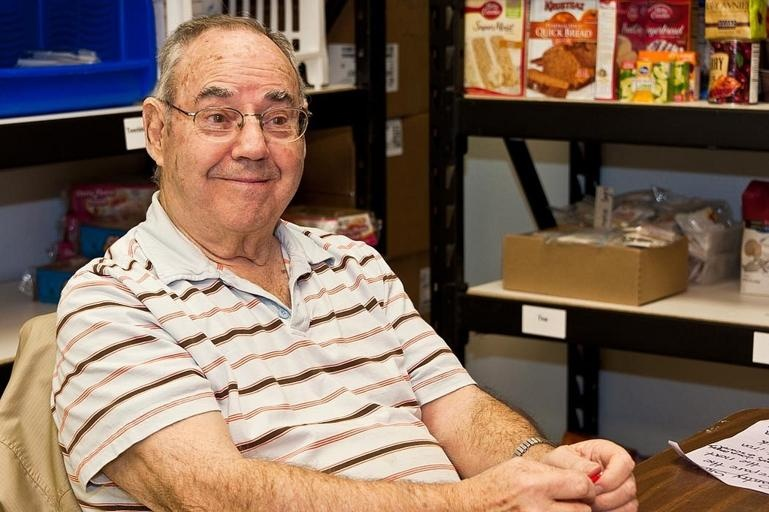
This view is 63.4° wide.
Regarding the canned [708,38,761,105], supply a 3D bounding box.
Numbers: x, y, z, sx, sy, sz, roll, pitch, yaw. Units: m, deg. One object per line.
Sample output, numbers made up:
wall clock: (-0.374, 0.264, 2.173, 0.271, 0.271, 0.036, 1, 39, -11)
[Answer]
canned: (0.932, -0.492, 1.651, 0.122, 0.169, 0.066, 5, 13, 26)
